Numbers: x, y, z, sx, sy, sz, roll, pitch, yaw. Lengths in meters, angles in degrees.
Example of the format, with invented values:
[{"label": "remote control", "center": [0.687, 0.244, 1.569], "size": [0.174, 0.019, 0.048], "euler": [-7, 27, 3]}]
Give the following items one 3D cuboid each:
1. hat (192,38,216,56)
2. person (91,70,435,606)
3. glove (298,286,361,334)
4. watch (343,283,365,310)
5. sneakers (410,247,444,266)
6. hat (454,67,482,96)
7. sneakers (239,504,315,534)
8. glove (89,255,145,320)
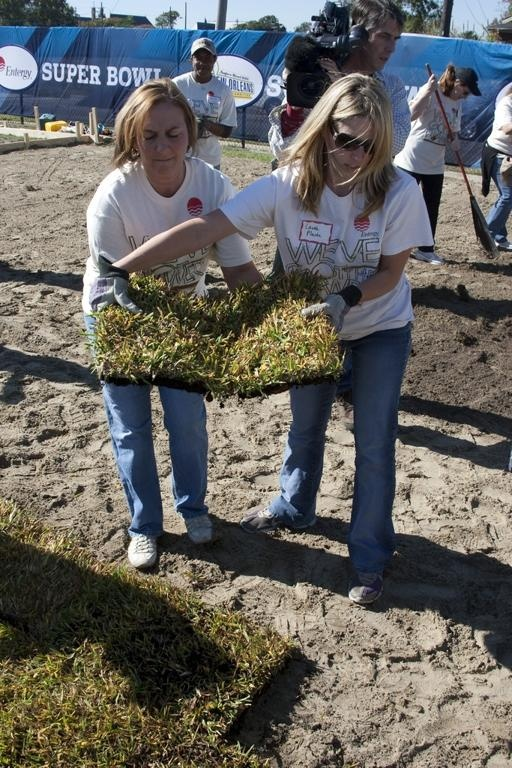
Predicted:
[{"label": "hat", "center": [-0.450, -2.903, 6.134], "size": [0.202, 0.137, 0.280], "euler": [-1, 8, 1]}, {"label": "person", "center": [0.193, -0.119, 2.818], "size": [0.887, 2.007, 0.600], "euler": [10, 17, 15]}, {"label": "glove", "center": [0.275, -0.267, 2.487], "size": [0.134, 0.059, 0.213], "euler": [8, 28, 27]}, {"label": "watch", "center": [0.342, -0.303, 2.507], "size": [0.072, 0.062, 0.082], "euler": [-12, 17, 10]}, {"label": "sneakers", "center": [1.680, -1.251, 7.123], "size": [0.327, 0.125, 0.123], "euler": [16, 45, 18]}, {"label": "hat", "center": [1.837, -2.663, 6.293], "size": [0.192, 0.220, 0.527], "euler": [14, 18, 30]}, {"label": "sneakers", "center": [0.075, 0.624, 3.394], "size": [0.374, 0.155, 0.133], "euler": [7, -5, -3]}, {"label": "glove", "center": [-0.550, -0.325, 2.659], "size": [0.228, 0.070, 0.274], "euler": [-23, -5, -35]}]
